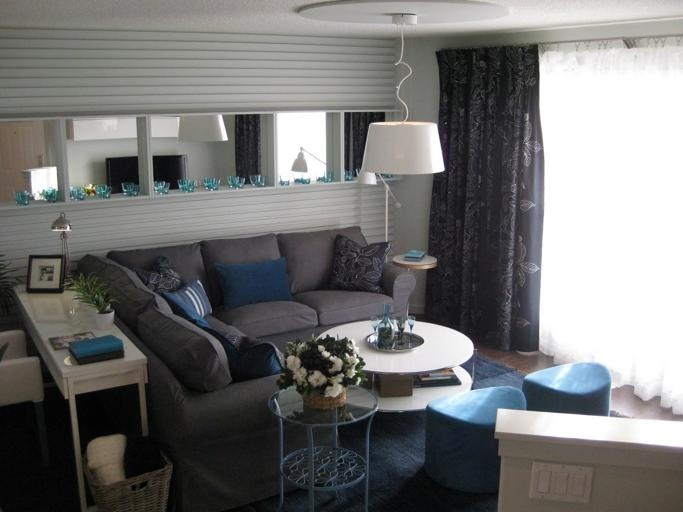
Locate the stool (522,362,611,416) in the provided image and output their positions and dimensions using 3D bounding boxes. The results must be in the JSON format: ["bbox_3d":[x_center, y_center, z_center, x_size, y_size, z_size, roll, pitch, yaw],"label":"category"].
[{"bbox_3d":[1.600,0.913,3.893,0.466,0.403,0.465,-1,4,-36],"label":"stool"}]

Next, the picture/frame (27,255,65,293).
[{"bbox_3d":[-2.537,0.166,4.707,0.324,0.336,0.036,-1,-18,-7],"label":"picture/frame"}]

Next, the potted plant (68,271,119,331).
[{"bbox_3d":[-1.827,0.349,4.056,0.316,0.276,0.310,12,18,28],"label":"potted plant"}]

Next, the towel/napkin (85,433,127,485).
[{"bbox_3d":[-1.336,1.158,3.130,0.218,0.214,0.093,10,-36,-33],"label":"towel/napkin"}]

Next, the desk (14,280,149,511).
[{"bbox_3d":[-1.737,0.956,3.679,0.344,0.572,1.287,-11,20,-33],"label":"desk"}]

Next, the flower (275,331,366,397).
[{"bbox_3d":[-0.101,0.584,3.177,0.391,0.264,0.389,2,5,14],"label":"flower"}]

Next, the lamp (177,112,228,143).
[{"bbox_3d":[-1.410,-1.270,5.506,0.323,0.197,0.319,2,7,8],"label":"lamp"}]

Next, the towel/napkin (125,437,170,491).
[{"bbox_3d":[-1.161,1.209,3.186,0.185,0.077,0.238,7,46,-21],"label":"towel/napkin"}]

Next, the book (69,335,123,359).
[{"bbox_3d":[-1.513,0.553,3.396,0.181,0.054,0.179,-3,8,-32],"label":"book"}]
